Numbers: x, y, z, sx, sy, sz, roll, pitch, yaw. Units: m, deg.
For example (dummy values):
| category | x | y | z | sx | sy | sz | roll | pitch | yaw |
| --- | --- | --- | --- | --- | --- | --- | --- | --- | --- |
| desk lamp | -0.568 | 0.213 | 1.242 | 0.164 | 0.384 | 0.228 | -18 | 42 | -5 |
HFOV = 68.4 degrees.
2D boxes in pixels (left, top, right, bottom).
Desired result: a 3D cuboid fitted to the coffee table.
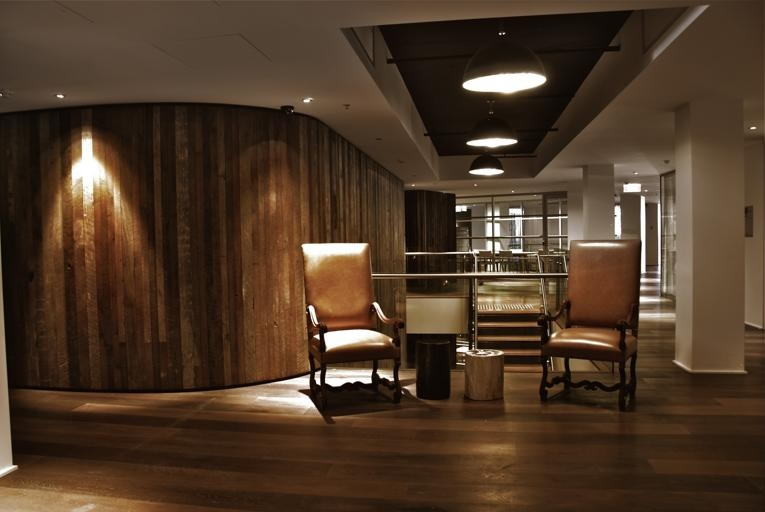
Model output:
| category | x | y | z | sx | sy | sz | roll | pitch | yaw |
| --- | --- | --- | --- | --- | --- | --- | --- | --- | --- |
| coffee table | 0.867 | 1.206 | 5.919 | 0.938 | 0.544 | 0.477 | -1 | -2 | 13 |

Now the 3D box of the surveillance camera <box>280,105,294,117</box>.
| category | x | y | z | sx | sy | sz | roll | pitch | yaw |
| --- | --- | --- | --- | --- | --- | --- | --- | --- | --- |
| surveillance camera | -1.126 | -1.716 | 6.640 | 0.081 | 0.066 | 0.106 | -3 | -6 | 22 |

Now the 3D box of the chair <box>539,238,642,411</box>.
| category | x | y | z | sx | sy | sz | roll | pitch | yaw |
| --- | --- | --- | --- | --- | --- | --- | --- | --- | --- |
| chair | 2.157 | 0.644 | 5.748 | 1.182 | 1.548 | 1.122 | -1 | 1 | -6 |

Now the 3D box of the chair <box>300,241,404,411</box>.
| category | x | y | z | sx | sy | sz | roll | pitch | yaw |
| --- | --- | --- | --- | --- | --- | --- | --- | --- | --- |
| chair | -0.352 | 0.683 | 5.907 | 1.229 | 1.577 | 1.199 | 0 | 2 | 25 |
